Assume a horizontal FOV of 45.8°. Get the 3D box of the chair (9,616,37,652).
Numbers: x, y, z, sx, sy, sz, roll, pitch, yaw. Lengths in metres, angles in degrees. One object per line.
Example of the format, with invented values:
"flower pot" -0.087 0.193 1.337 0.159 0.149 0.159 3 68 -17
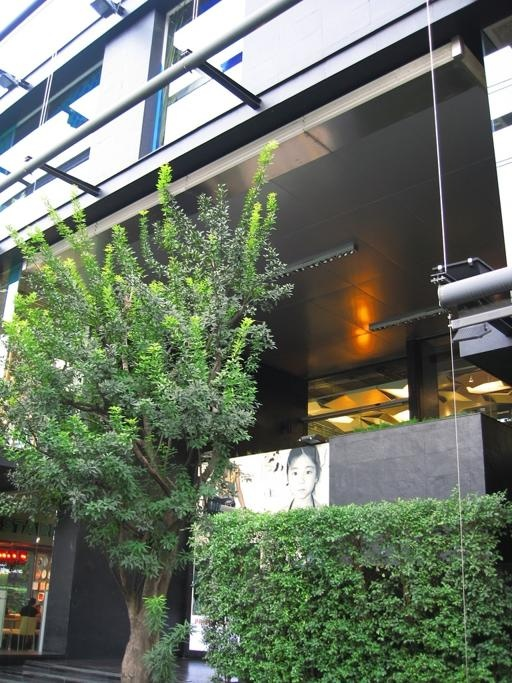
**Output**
"chair" -3.208 4.007 8.316 0.233 0.390 0.497 18 -26 -41
